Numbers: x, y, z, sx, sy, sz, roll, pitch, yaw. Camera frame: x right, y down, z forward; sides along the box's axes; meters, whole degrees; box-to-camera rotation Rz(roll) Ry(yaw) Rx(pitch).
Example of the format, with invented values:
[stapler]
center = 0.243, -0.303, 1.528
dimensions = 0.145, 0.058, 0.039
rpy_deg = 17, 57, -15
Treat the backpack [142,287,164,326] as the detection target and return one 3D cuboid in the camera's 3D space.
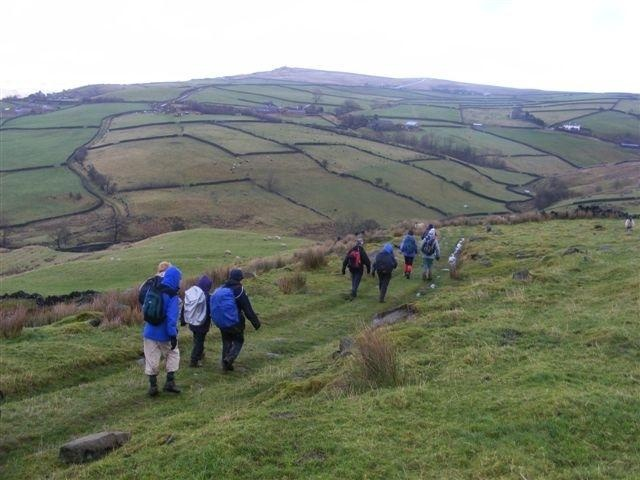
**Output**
[backpack]
center = -3.702, 1.510, 12.001
dimensions = 0.489, 0.841, 0.307
rpy_deg = -12, 11, -15
